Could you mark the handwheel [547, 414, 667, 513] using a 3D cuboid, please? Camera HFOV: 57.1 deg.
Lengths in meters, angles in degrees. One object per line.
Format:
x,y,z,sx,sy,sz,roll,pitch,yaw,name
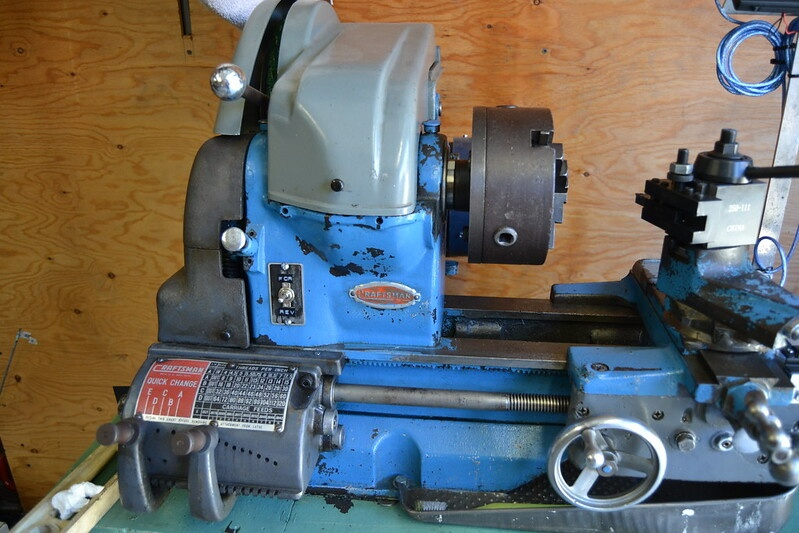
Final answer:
0.575,0.547,2.047,0.303,0.321,0.229,8,15,19,handwheel
